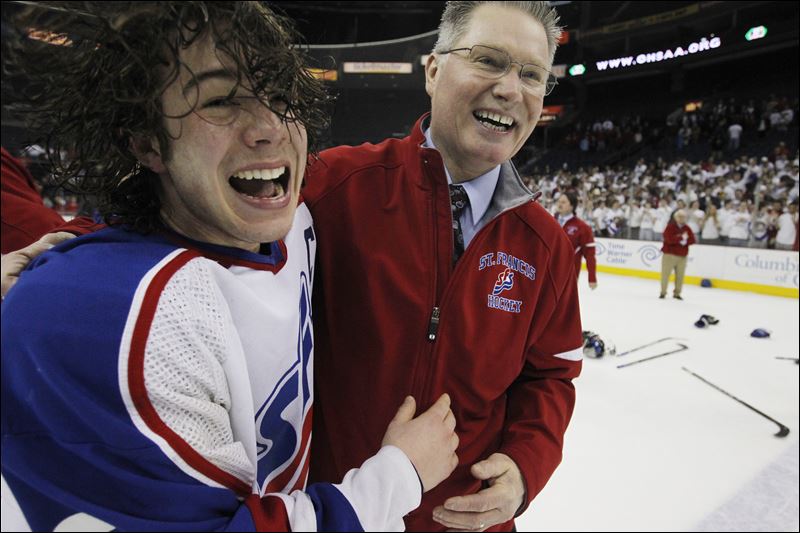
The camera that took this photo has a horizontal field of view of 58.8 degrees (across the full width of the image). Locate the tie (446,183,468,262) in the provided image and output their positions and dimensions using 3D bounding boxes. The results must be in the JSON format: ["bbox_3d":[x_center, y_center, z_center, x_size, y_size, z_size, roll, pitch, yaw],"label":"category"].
[{"bbox_3d":[0.241,-0.183,2.960,0.069,0.313,0.086,1,-2,10],"label":"tie"}]
